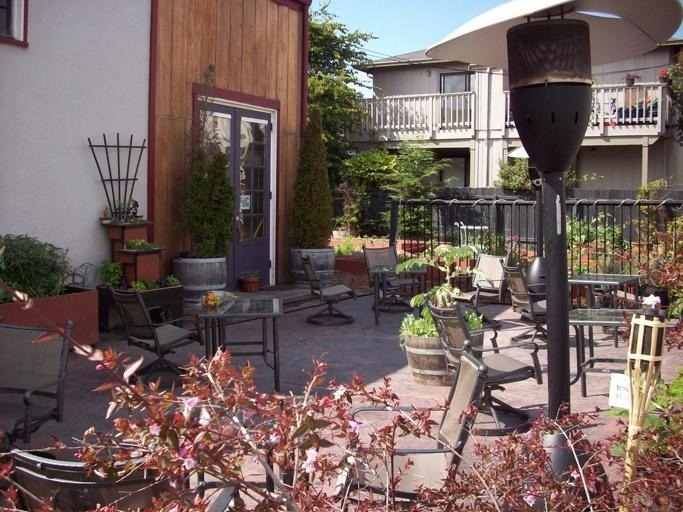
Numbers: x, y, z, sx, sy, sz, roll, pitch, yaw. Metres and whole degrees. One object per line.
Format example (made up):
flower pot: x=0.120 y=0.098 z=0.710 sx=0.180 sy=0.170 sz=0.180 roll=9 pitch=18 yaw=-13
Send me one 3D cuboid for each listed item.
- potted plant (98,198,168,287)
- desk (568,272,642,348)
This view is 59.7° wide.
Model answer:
potted plant: x=-2.928 y=-0.157 z=8.196 sx=0.831 sy=1.534 sz=0.926 roll=1 pitch=5 yaw=28
desk: x=3.256 y=0.319 z=7.383 sx=0.765 sy=0.831 sz=1.550 roll=0 pitch=4 yaw=21
